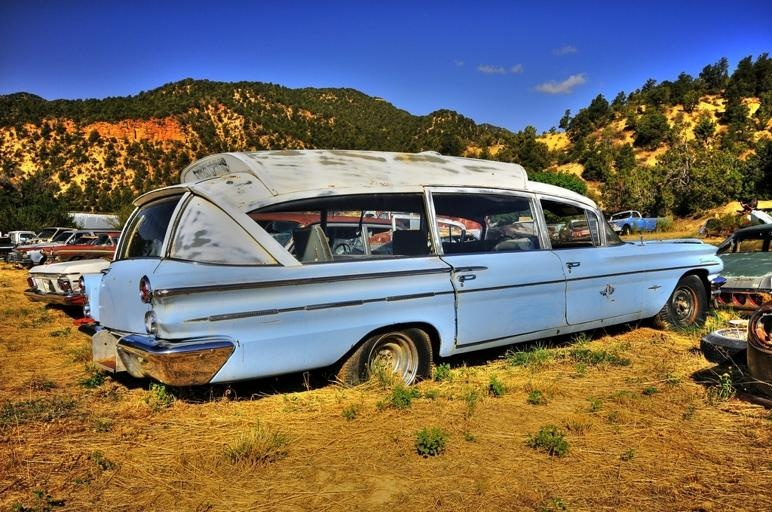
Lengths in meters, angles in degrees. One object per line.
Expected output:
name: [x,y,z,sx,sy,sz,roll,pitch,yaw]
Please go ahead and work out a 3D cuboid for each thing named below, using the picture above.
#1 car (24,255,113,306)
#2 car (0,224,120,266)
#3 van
car: [-6.435,0.496,10.260,2.475,0.875,1.612,3,5,31]
car: [-9.722,-0.410,16.295,3.663,0.973,2.013,-3,1,-37]
van: [0.472,-0.014,6.374,6.849,1.803,2.967,-3,5,-28]
